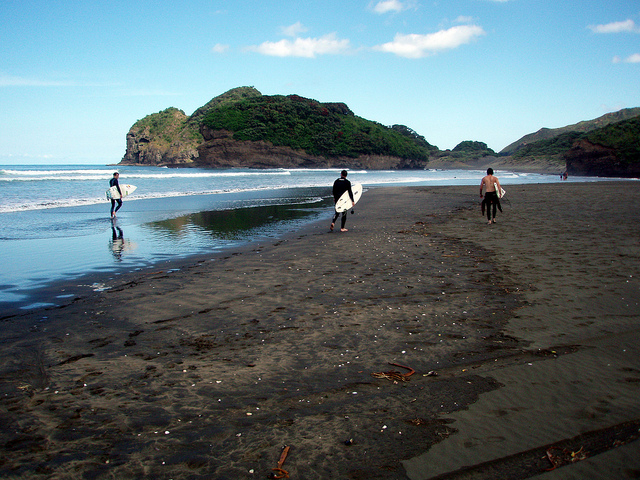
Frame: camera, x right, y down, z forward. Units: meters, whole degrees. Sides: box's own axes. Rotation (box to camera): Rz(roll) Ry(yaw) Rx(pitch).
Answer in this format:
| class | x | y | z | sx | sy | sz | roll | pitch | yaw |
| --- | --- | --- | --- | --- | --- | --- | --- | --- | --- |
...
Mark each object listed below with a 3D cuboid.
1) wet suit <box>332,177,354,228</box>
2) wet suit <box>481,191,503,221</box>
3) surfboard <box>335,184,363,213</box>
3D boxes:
| class | x | y | z | sx | sy | sz | roll | pitch | yaw |
| --- | --- | --- | --- | --- | --- | --- | --- | --- | --- |
| wet suit | 0.774 | -1.339 | 15.868 | 0.762 | 1.777 | 1.371 | -3 | 15 | 4 |
| wet suit | 6.128 | -1.252 | 16.471 | 0.521 | 1.116 | 0.987 | 1 | 15 | 17 |
| surfboard | 1.008 | -1.534 | 16.164 | 0.282 | 0.506 | 1.820 | -10 | 19 | 39 |
